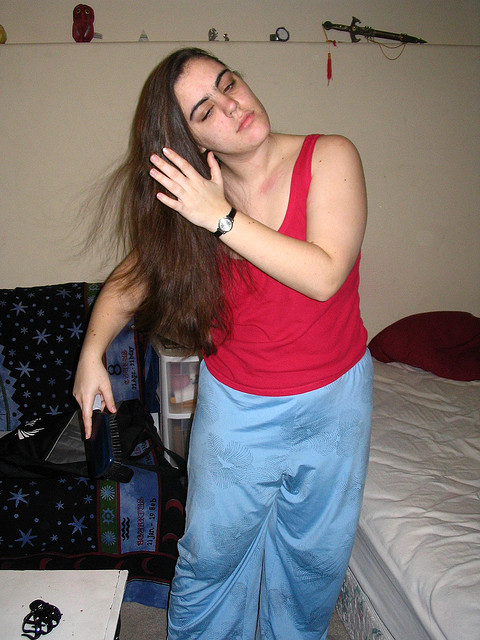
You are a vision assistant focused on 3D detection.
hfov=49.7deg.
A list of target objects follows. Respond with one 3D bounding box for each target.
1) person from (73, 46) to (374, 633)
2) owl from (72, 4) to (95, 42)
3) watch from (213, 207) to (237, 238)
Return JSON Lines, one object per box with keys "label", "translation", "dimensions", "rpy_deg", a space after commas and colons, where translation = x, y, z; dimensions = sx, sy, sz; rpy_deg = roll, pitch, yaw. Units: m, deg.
{"label": "person", "translation": [-0.036, 0.122, 0.978], "dimensions": [0.542, 1.141, 0.309], "rpy_deg": [12, 22, 26]}
{"label": "owl", "translation": [-0.574, -1.077, 1.889], "dimensions": [0.082, 0.121, 0.058], "rpy_deg": [-2, 20, -10]}
{"label": "watch", "translation": [-0.020, -0.135, 0.728], "dimensions": [0.023, 0.040, 0.038], "rpy_deg": [34, 2, -14]}
